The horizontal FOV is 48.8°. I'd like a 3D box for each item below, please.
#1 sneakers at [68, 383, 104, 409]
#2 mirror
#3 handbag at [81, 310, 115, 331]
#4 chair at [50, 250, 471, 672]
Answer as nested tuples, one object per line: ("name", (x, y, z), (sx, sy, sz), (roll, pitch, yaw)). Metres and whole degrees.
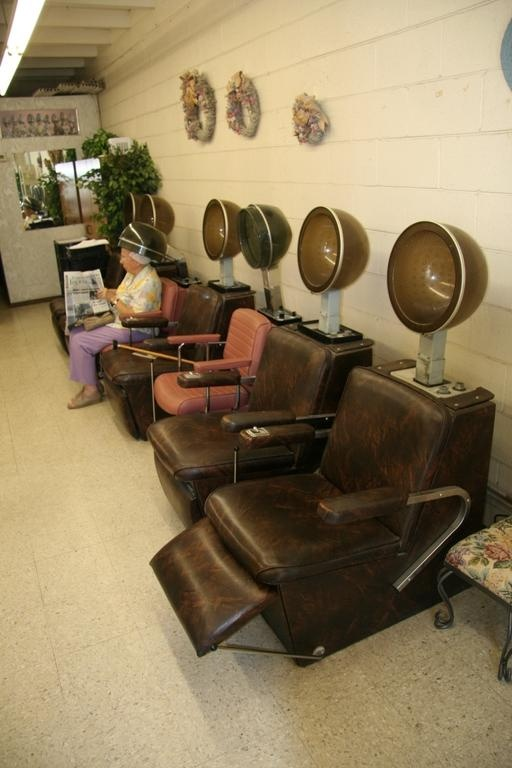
("sneakers", (-1.314, 0.062, 4.313), (0.288, 0.272, 0.128), (-7, 25, -36))
("mirror", (-2.626, -2.453, 7.081), (0.828, 0.952, 0.066), (-18, 36, -34))
("handbag", (-1.169, -0.471, 4.174), (0.161, 0.059, 0.160), (-19, 9, 7))
("chair", (-0.036, 0.201, 1.961), (1.146, 0.974, 0.824), (-9, 25, -23))
